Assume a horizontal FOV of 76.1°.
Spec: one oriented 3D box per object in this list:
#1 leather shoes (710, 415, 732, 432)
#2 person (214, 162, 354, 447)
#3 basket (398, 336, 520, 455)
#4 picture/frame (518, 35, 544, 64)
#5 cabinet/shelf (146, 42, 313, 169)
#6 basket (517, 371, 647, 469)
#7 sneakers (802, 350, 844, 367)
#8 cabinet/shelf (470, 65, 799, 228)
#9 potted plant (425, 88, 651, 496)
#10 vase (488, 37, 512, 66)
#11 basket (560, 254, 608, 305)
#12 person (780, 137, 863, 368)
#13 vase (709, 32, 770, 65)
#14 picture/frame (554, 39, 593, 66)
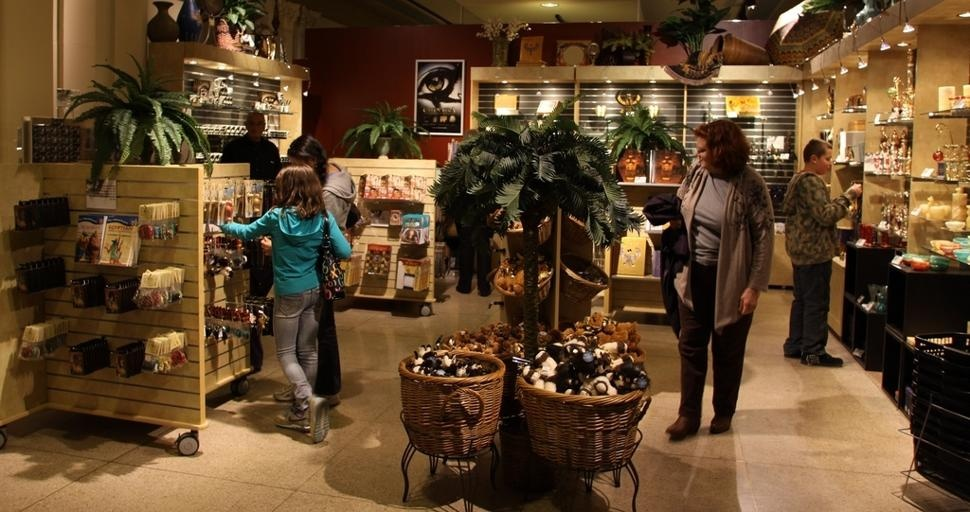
[{"bbox_3d":[2.342,1.693,6.315,0.310,0.177,0.097,1,19,12],"label":"leather shoes"},{"bbox_3d":[-1.852,0.458,6.220,0.881,2.676,0.570,3,8,22],"label":"person"},{"bbox_3d":[-0.223,1.169,5.390,0.986,0.627,1.009,1,5,-1],"label":"basket"},{"bbox_3d":[0.854,-3.813,11.537,0.672,0.575,0.366,3,3,7],"label":"picture/frame"},{"bbox_3d":[-3.411,-2.098,9.039,0.503,1.269,2.425,4,10,16],"label":"cabinet/shelf"},{"bbox_3d":[0.692,1.332,5.126,0.817,0.412,0.784,3,-2,-25],"label":"basket"},{"bbox_3d":[4.212,1.290,7.736,0.447,0.157,0.202,-2,4,0],"label":"sneakers"},{"bbox_3d":[2.214,-1.431,7.873,3.616,1.678,0.466,1,7,9],"label":"cabinet/shelf"},{"bbox_3d":[0.527,-0.425,6.397,2.390,2.567,2.278,0,7,5],"label":"potted plant"},{"bbox_3d":[0.299,-3.713,11.520,0.377,0.504,0.458,0,7,2],"label":"vase"},{"bbox_3d":[1.272,0.274,6.995,0.490,0.455,0.213,-41,29,-28],"label":"basket"},{"bbox_3d":[4.215,-0.062,7.924,0.760,2.778,0.867,3,8,24],"label":"person"},{"bbox_3d":[4.485,-3.542,10.909,1.091,0.408,0.508,8,25,-7],"label":"vase"},{"bbox_3d":[1.650,-3.713,11.384,0.754,0.608,0.071,1,-19,3],"label":"picture/frame"}]
